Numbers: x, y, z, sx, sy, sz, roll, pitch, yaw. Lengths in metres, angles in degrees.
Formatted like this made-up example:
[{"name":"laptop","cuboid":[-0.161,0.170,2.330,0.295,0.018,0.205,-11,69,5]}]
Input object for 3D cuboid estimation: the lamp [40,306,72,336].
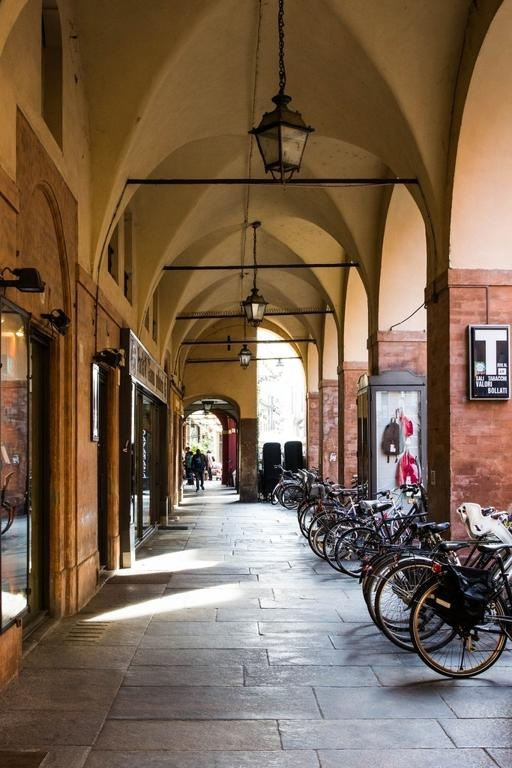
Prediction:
[{"name":"lamp","cuboid":[-1.531,-0.492,4.792,0.177,0.137,0.148,11,-3,-10]}]
